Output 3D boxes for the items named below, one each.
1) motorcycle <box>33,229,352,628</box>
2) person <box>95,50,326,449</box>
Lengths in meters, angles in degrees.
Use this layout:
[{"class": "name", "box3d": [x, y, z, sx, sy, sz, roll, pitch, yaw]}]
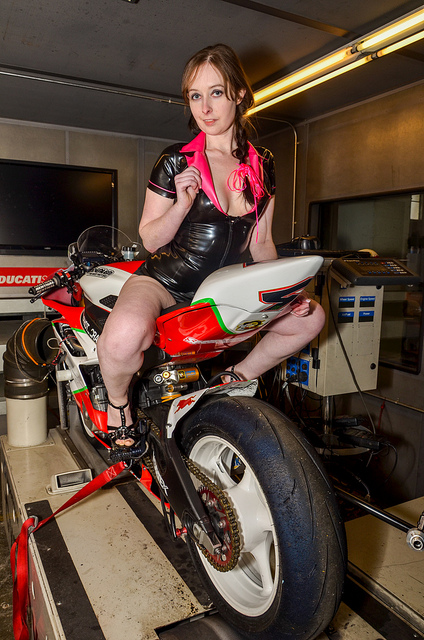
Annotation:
[{"class": "motorcycle", "box3d": [-0.049, 0.188, 1.637, 0.561, 0.848, 1.577, -3, 17, -30]}, {"class": "person", "box3d": [-0.039, -0.216, 1.467, 0.701, 1.168, 0.691, -9, 20, -30]}]
